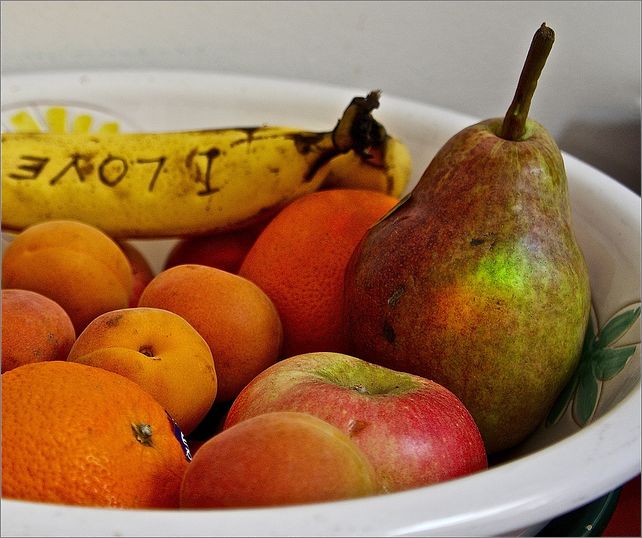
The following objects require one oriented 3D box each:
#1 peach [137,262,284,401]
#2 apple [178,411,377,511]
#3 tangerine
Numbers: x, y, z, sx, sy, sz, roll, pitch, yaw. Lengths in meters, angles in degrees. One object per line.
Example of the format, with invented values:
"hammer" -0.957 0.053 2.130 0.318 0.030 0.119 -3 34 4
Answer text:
"peach" -0.060 0.025 0.611 0.114 0.104 0.167 4 24 13
"apple" -0.023 0.091 0.418 0.073 0.052 0.099 -12 19 -33
"tangerine" 0.018 0.021 0.657 0.137 0.152 0.185 -8 69 0
